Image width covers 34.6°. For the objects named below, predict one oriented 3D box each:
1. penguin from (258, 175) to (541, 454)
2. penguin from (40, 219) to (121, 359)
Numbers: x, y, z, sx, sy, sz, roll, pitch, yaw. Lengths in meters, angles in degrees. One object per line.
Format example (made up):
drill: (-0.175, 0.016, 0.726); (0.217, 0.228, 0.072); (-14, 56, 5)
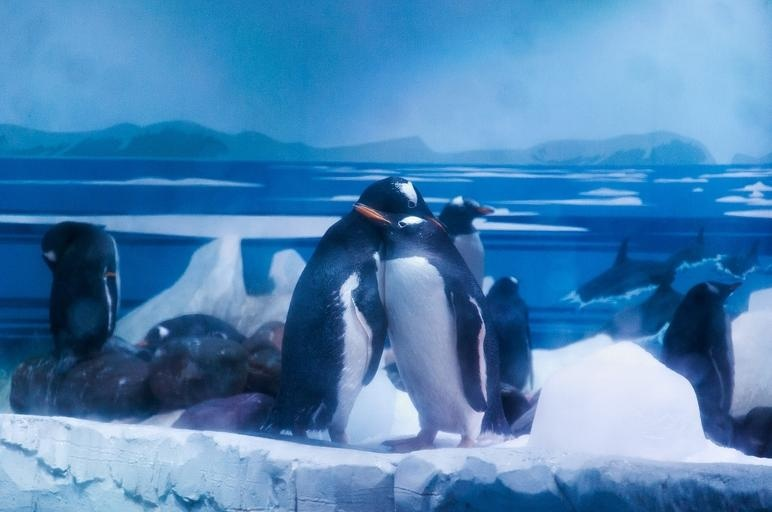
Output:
penguin: (0.083, 0.225, 5.914); (0.839, 1.279, 1.451); (4, 10, 17)
penguin: (-1.538, 0.147, 6.379); (0.461, 0.684, 0.240); (-11, -4, 16)
